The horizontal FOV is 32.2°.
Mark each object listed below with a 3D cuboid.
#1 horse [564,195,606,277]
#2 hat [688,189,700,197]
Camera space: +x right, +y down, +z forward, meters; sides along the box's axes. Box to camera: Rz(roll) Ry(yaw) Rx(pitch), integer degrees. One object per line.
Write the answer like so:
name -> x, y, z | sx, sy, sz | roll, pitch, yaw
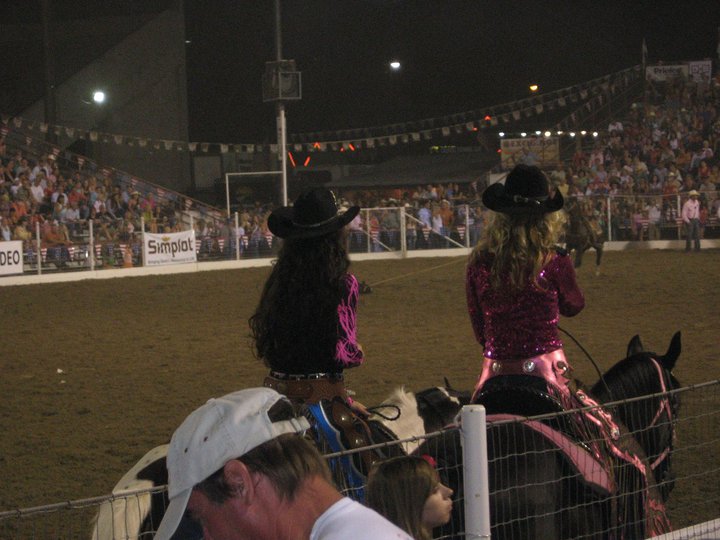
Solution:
horse -> 6.516, -0.875, 35.827 | 0.804, 1.991, 3.096 | 0, 0, 41
hat -> 10.299, -2.347, 38.331 | 0.353, 0.154, 0.412 | 0, 3, 10
